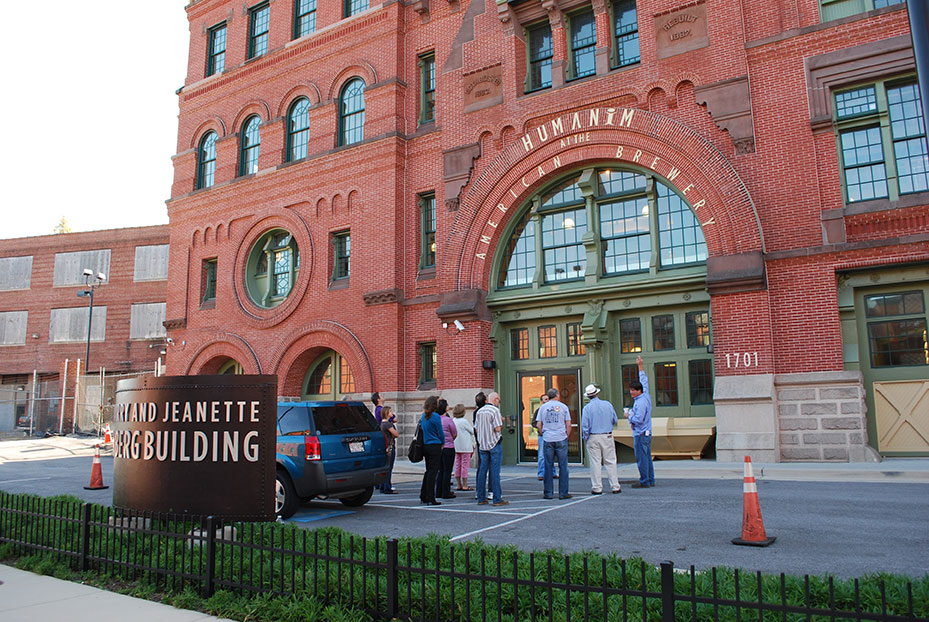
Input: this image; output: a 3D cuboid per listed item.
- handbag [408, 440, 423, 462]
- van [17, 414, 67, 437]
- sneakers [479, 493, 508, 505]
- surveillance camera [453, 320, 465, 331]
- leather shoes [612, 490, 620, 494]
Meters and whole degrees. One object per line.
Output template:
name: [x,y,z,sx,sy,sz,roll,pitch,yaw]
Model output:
handbag: [-1.168,3.414,18.434,0.341,0.460,0.282,-1,-11,-7]
van: [-25.184,6.937,44.350,3.075,1.222,1.868,-1,-6,22]
sneakers: [0.669,4.385,17.554,0.699,0.280,0.250,-5,-10,19]
surveillance camera: [-0.170,0.484,25.439,0.399,0.388,0.240,-10,-13,35]
leather shoes: [3.605,4.291,17.869,0.097,0.074,0.119,5,-13,-18]
